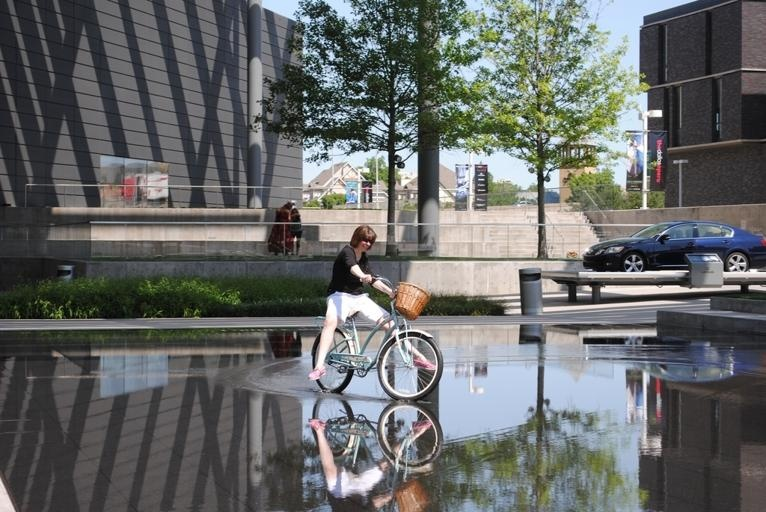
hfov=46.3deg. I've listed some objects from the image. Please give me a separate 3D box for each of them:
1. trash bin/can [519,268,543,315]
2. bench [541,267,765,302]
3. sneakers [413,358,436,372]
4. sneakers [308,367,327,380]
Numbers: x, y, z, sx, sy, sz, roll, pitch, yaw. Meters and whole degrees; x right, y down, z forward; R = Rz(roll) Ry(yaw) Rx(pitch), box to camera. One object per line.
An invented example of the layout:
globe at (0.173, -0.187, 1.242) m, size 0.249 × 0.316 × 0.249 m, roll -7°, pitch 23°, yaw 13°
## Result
trash bin/can at (4.217, 1.013, 25.372) m, size 0.601 × 1.307 × 0.433 m, roll -1°, pitch 6°, yaw 4°
bench at (8.178, 0.955, 27.979) m, size 6.278 × 1.137 × 2.092 m, roll -1°, pitch 6°, yaw 6°
sneakers at (0.763, 1.992, 16.358) m, size 0.478 × 0.166 × 0.197 m, roll 9°, pitch 26°, yaw -5°
sneakers at (-1.195, 2.194, 16.609) m, size 0.346 × 0.139 × 0.178 m, roll -29°, pitch 7°, yaw -28°
